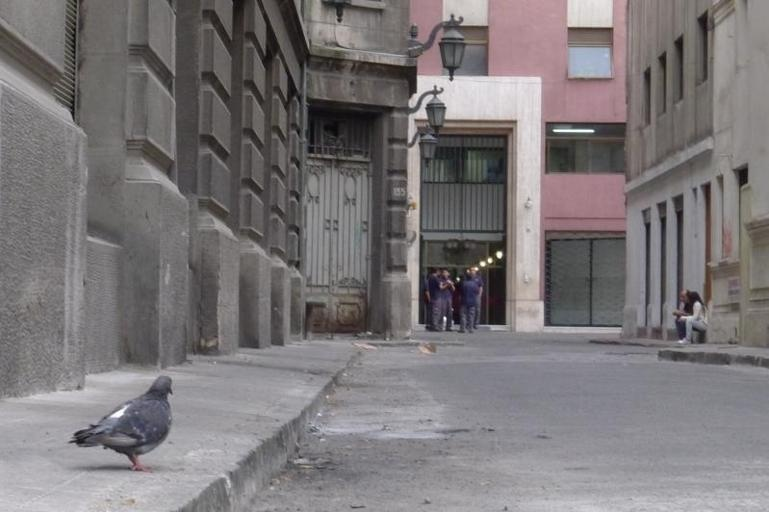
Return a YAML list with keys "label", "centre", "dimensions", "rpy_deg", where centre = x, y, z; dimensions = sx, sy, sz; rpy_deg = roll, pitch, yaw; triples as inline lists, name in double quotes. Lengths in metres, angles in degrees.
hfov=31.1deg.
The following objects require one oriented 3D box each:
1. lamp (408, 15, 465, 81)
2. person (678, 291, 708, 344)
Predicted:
- label: "lamp"
  centre: [1.094, -4.468, 29.738]
  dimensions: [1.128, 1.486, 0.537]
  rpy_deg: [1, -12, 6]
- label: "person"
  centre: [6.724, 1.322, 30.295]
  dimensions: [0.575, 1.190, 0.929]
  rpy_deg: [-1, -7, 12]
